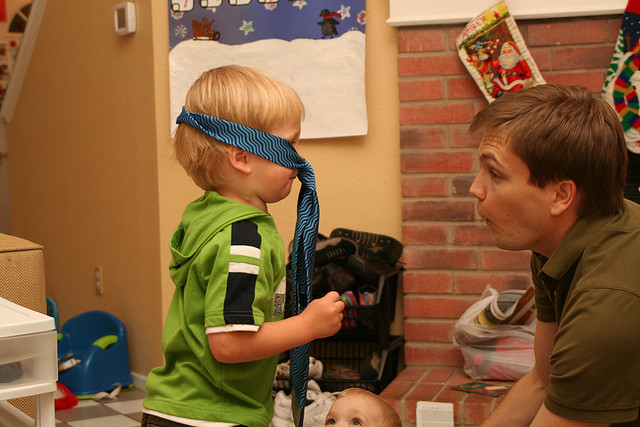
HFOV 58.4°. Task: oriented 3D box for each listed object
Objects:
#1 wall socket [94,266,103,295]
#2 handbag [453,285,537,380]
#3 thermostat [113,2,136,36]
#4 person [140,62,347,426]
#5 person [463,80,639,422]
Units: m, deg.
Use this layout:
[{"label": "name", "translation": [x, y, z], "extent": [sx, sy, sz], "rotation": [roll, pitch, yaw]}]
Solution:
[{"label": "wall socket", "translation": [-1.366, 0.413, 3.527], "extent": [0.016, 0.177, 0.078], "rotation": [-5, 5, -45]}, {"label": "handbag", "translation": [0.750, 0.525, 2.614], "extent": [0.449, 0.432, 0.375], "rotation": [-4, 5, 17]}, {"label": "thermostat", "translation": [-1.086, -1.088, 3.195], "extent": [0.074, 0.195, 0.207], "rotation": [-4, -1, -43]}, {"label": "person", "translation": [-0.222, 0.082, 1.548], "extent": [0.545, 1.007, 0.327], "rotation": [-3, 4, -15]}, {"label": "person", "translation": [0.586, 0.135, 1.426], "extent": [0.396, 0.921, 0.386], "rotation": [-1, 4, 18]}]
